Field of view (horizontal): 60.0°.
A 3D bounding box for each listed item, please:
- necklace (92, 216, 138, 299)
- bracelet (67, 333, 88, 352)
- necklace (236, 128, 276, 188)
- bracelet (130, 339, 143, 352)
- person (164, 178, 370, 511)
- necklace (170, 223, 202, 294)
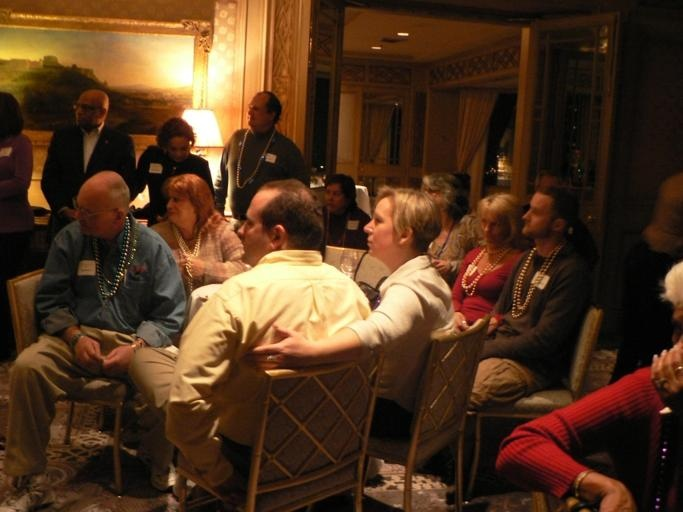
[{"bbox_3d":[-1.151,0.021,2.991,0.235,0.393,0.065,4,-10,-3],"label":"necklace"},{"bbox_3d":[-1.308,0.433,2.931,0.019,0.073,0.070,19,43,-17],"label":"bracelet"},{"bbox_3d":[-0.763,-0.846,5.189,0.288,0.530,0.094,10,-16,13],"label":"necklace"},{"bbox_3d":[-1.020,0.452,2.956,0.053,0.015,0.050,-24,21,45],"label":"bracelet"},{"bbox_3d":[-0.290,0.284,2.143,0.703,1.100,0.336,-5,14,-36],"label":"person"},{"bbox_3d":[-0.903,0.025,3.412,0.137,0.054,0.497,4,36,-16],"label":"necklace"}]
